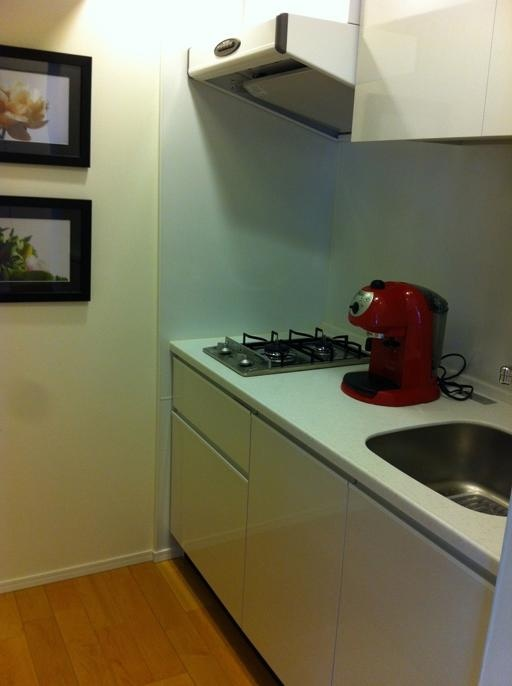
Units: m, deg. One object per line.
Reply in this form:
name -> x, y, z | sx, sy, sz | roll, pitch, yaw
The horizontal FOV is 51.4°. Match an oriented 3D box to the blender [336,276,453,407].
blender -> 0.349, -0.031, 1.502 | 0.271, 0.348, 0.275 | -3, 13, -26

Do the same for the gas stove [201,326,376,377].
gas stove -> 0.078, 0.013, 1.895 | 0.588, 0.094, 0.478 | 2, 6, -12
